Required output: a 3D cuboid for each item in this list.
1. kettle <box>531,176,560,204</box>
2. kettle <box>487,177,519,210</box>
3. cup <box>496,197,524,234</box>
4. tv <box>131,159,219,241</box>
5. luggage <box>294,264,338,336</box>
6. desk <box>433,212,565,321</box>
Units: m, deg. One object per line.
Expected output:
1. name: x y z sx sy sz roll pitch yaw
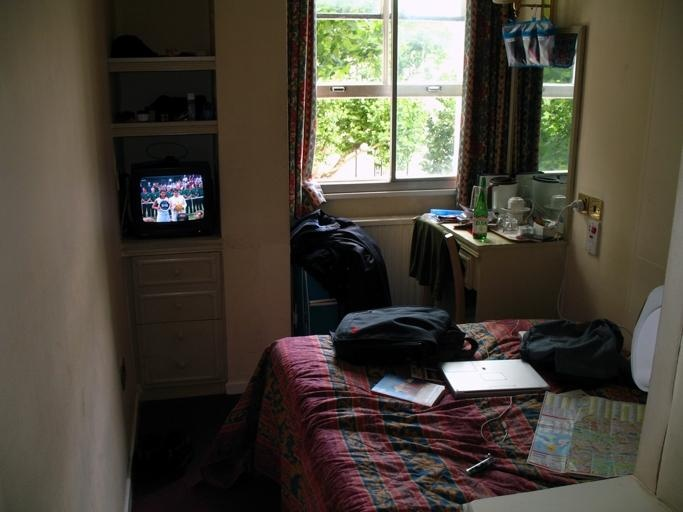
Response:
1. kettle: 1.352 -0.436 3.605 0.161 0.142 0.133 6 11 36
2. kettle: 1.128 -0.457 3.911 0.226 0.235 0.177 -7 15 -9
3. cup: 1.132 -0.270 3.614 0.170 0.226 0.229 2 10 1
4. tv: -0.971 -0.319 3.423 0.690 0.647 0.387 -2 5 -17
5. luggage: -0.205 0.343 3.664 0.395 0.452 0.104 0 12 -5
6. desk: 1.058 0.011 3.663 0.509 0.742 0.787 -1 10 -7
